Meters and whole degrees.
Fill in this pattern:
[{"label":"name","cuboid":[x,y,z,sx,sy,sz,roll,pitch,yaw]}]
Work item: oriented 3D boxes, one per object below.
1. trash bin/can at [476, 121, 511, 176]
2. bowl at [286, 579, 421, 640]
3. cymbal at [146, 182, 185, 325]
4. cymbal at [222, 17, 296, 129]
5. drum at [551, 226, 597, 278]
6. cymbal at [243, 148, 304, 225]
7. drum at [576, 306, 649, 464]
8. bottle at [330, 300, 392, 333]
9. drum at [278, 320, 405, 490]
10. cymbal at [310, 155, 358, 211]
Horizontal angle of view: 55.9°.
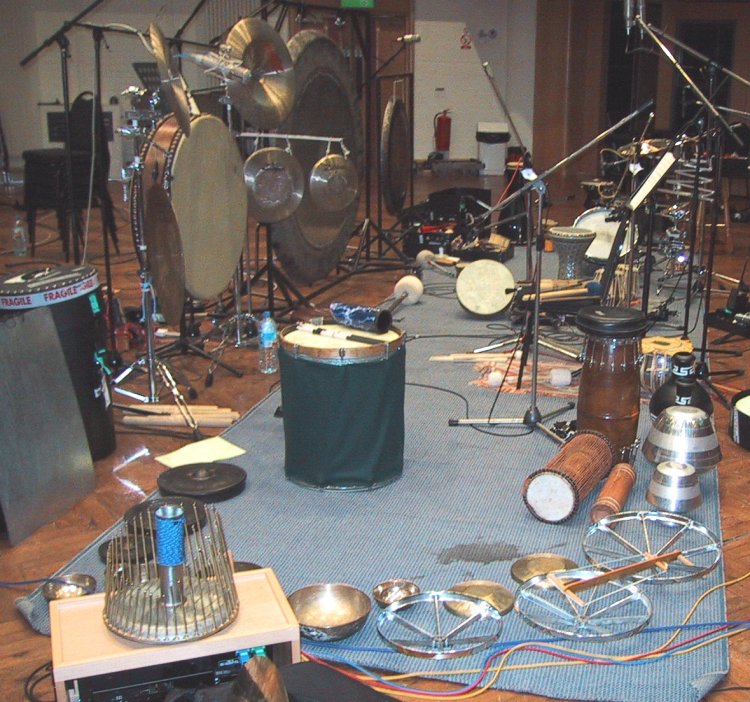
[{"label":"trash bin/can","cuboid":[2.238,-3.891,13.200,0.750,0.982,0.828,14,35,28]},{"label":"bowl","cuboid":[-0.063,0.710,1.967,0.257,0.055,0.156,-3,10,-22]},{"label":"cymbal","cuboid":[-0.964,-0.557,3.204,0.161,0.436,0.042,-1,-8,-42]},{"label":"cymbal","cuboid":[-0.656,-1.670,4.137,0.113,0.621,0.585,1,11,39]},{"label":"drum","cuboid":[1.488,-0.786,5.311,0.378,0.402,0.361,-11,17,-26]},{"label":"cymbal","cuboid":[-0.656,-1.054,4.422,0.182,0.472,0.458,8,16,35]},{"label":"drum","cuboid":[0.952,0.140,2.876,0.247,0.577,0.271,-3,18,1]},{"label":"bottle","cuboid":[-0.049,-0.145,2.882,0.304,0.103,0.113,17,0,29]},{"label":"drum","cuboid":[-0.109,0.192,2.937,0.559,0.575,0.565,0,17,1]},{"label":"cymbal","cuboid":[-0.292,-1.277,5.228,0.386,0.407,0.293,-3,13,-7]}]
